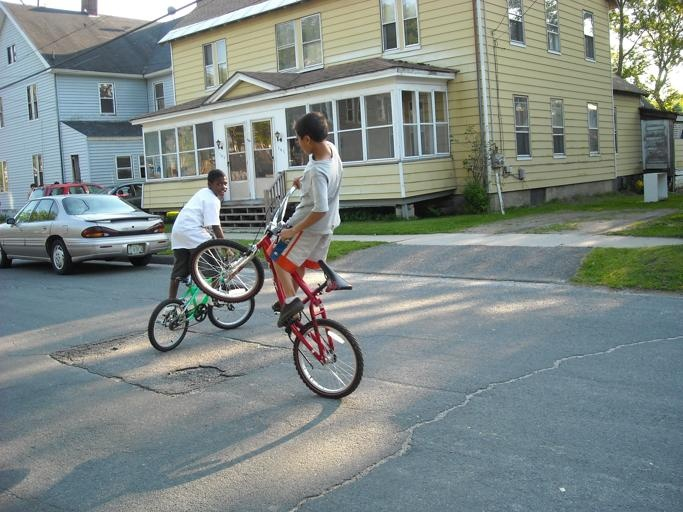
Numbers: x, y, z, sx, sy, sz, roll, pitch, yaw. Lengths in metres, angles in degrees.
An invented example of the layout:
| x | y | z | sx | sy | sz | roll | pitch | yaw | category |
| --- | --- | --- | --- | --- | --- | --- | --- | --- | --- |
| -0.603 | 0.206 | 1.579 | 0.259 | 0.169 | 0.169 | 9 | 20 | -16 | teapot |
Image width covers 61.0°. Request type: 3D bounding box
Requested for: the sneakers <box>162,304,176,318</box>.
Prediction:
| x | y | z | sx | sy | sz | roll | pitch | yaw | category |
| --- | --- | --- | --- | --- | --- | --- | --- | --- | --- |
| -2.128 | 0.669 | 7.154 | 0.132 | 0.178 | 0.107 | 8 | 11 | -37 | sneakers |

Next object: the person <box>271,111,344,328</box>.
| x | y | z | sx | sy | sz | roll | pitch | yaw | category |
| --- | --- | --- | --- | --- | --- | --- | --- | --- | --- |
| -0.337 | -0.336 | 5.519 | 0.737 | 2.018 | 0.480 | -4 | 11 | 2 | person |

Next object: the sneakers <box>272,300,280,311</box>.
| x | y | z | sx | sy | sz | roll | pitch | yaw | category |
| --- | --- | --- | --- | --- | --- | --- | --- | --- | --- |
| -0.656 | 0.497 | 5.851 | 0.063 | 0.067 | 0.169 | 4 | 20 | -12 | sneakers |
